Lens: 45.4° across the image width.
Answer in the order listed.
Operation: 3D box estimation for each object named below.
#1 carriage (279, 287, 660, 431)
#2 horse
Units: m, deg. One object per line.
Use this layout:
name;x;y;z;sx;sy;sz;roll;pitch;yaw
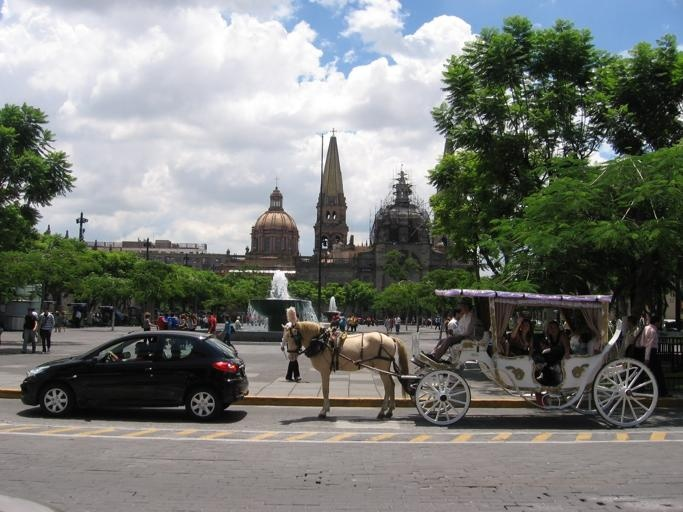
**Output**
carriage;3.871;2.596;20.090;10.287;3.938;3.367;1;-7;3
horse;0.107;2.690;19.261;3.021;2.162;1.067;-1;-7;4
